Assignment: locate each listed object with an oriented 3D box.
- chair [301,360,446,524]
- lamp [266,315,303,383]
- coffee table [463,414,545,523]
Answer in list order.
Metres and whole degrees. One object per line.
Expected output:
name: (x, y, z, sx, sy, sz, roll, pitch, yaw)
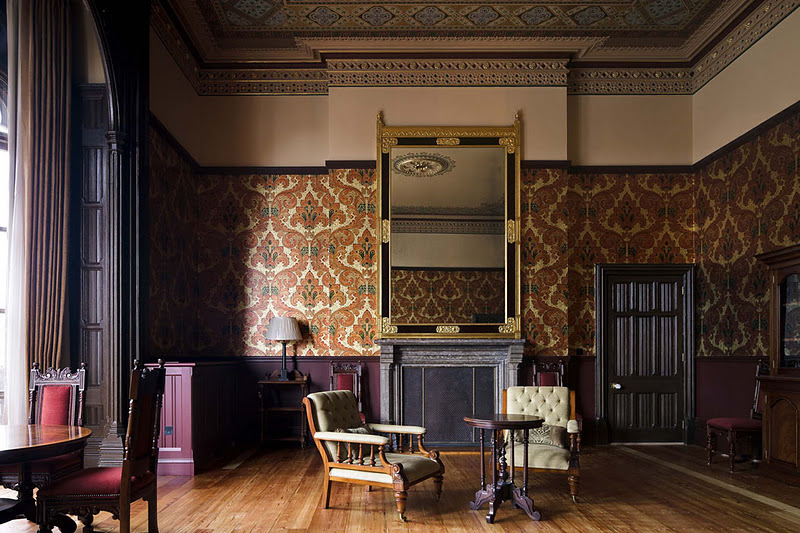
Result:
chair: (-0.274, 2.148, 7.707, 1.473, 1.339, 1.254, -4, -6, 25)
lamp: (-1.756, 1.218, 9.840, 0.529, 0.935, 0.415, -1, 3, -12)
coffee table: (1.147, 2.257, 7.555, 0.984, 1.159, 1.020, 2, -7, -18)
